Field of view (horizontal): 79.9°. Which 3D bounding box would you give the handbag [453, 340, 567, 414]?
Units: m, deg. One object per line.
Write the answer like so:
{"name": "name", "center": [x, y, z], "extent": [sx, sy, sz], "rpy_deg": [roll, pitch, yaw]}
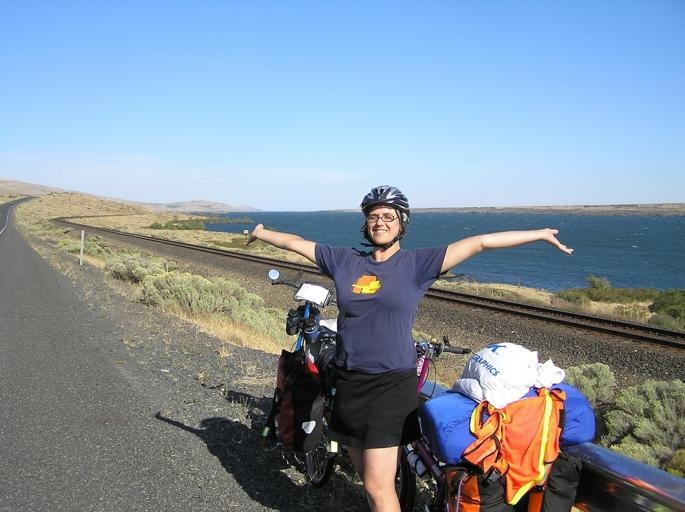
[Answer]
{"name": "handbag", "center": [0.935, 0.748, 2.524], "extent": [0.477, 0.144, 0.438], "rpy_deg": [-13, 13, -14]}
